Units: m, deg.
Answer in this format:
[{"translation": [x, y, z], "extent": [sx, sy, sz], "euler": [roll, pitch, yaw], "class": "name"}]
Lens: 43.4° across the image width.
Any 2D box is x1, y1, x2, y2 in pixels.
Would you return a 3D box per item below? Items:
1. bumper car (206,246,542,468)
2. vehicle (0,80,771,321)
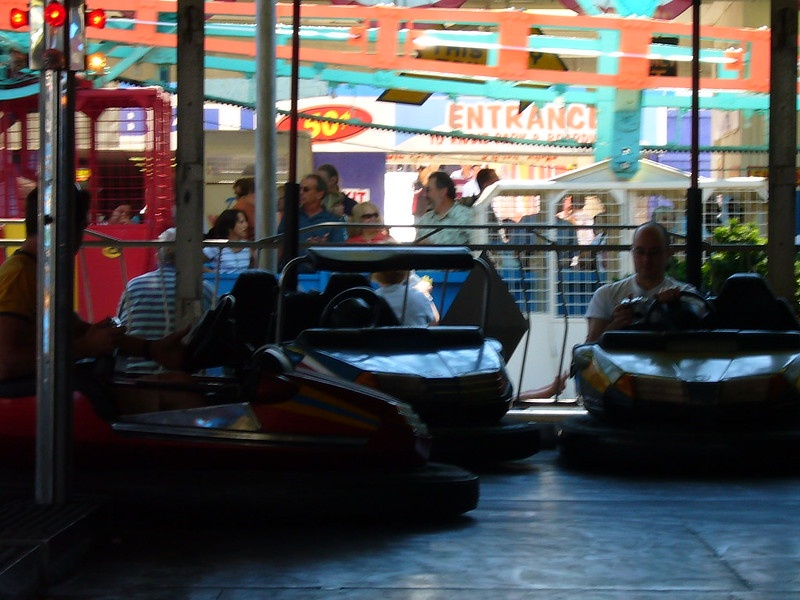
[{"translation": [-0.169, 0.129, 5.027], "extent": [1.357, 0.711, 1.903], "euler": [-7, 15, -26], "class": "bumper car"}, {"translation": [0.836, -0.616, 7.994], "extent": [4.788, 1.045, 2.655], "euler": [1, -2, -2], "class": "vehicle"}]
